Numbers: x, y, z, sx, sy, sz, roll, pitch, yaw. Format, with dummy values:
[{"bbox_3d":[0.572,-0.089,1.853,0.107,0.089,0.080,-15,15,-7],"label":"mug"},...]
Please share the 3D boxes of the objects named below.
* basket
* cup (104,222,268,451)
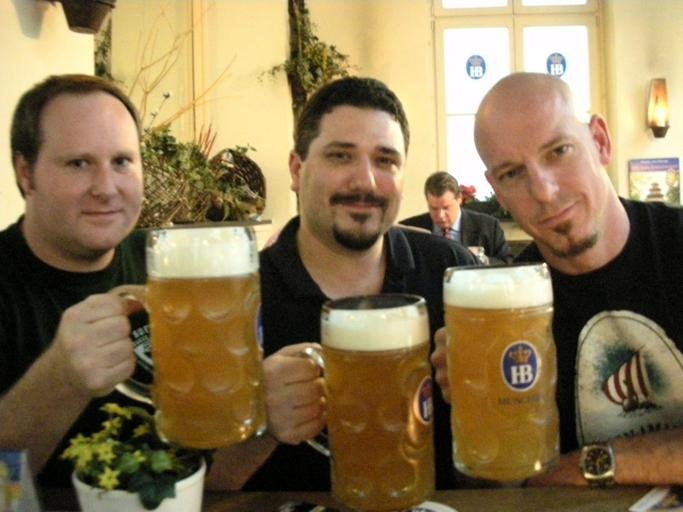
[{"bbox_3d":[-0.733,-0.359,3.214,0.384,0.223,0.643,-1,-4,44],"label":"basket"},{"bbox_3d":[-0.296,0.171,1.312,0.263,0.475,0.173,-7,9,-16],"label":"cup"}]
